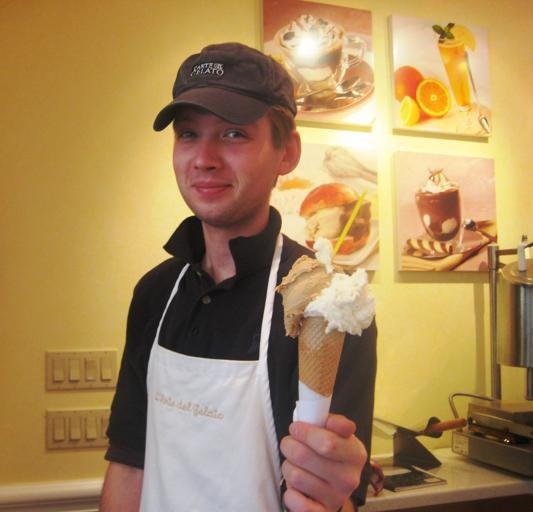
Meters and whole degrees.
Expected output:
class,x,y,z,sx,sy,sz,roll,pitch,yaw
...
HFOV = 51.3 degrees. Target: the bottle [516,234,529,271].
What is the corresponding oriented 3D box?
class,x,y,z,sx,sy,sz,roll,pitch,yaw
bottle,0.976,-0.012,2.111,0.038,0.140,0.191,-3,-2,25
